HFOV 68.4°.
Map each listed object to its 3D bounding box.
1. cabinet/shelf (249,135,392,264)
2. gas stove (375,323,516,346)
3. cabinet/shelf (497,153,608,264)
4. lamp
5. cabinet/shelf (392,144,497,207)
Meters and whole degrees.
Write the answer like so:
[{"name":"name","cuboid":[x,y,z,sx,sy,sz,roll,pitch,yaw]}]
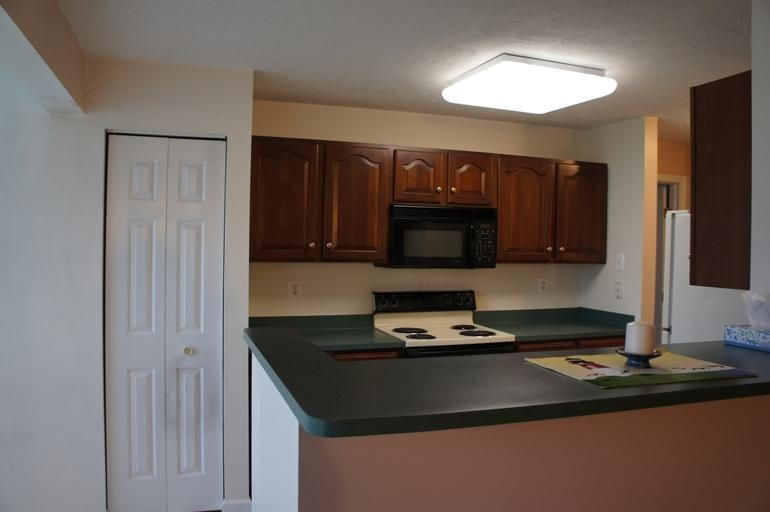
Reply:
[{"name":"cabinet/shelf","cuboid":[-0.451,-0.399,4.427,1.108,0.898,0.494,2,3,10]},{"name":"gas stove","cuboid":[0.488,0.598,4.499,1.017,0.105,0.550,0,14,-13]},{"name":"cabinet/shelf","cuboid":[1.404,-0.365,4.973,1.112,0.887,0.424,1,1,-18]},{"name":"lamp","cuboid":[0.970,-1.146,3.787,1.091,0.332,0.476,1,14,-8]},{"name":"cabinet/shelf","cuboid":[0.470,-0.615,4.641,0.863,0.424,0.300,1,-2,-10]}]
